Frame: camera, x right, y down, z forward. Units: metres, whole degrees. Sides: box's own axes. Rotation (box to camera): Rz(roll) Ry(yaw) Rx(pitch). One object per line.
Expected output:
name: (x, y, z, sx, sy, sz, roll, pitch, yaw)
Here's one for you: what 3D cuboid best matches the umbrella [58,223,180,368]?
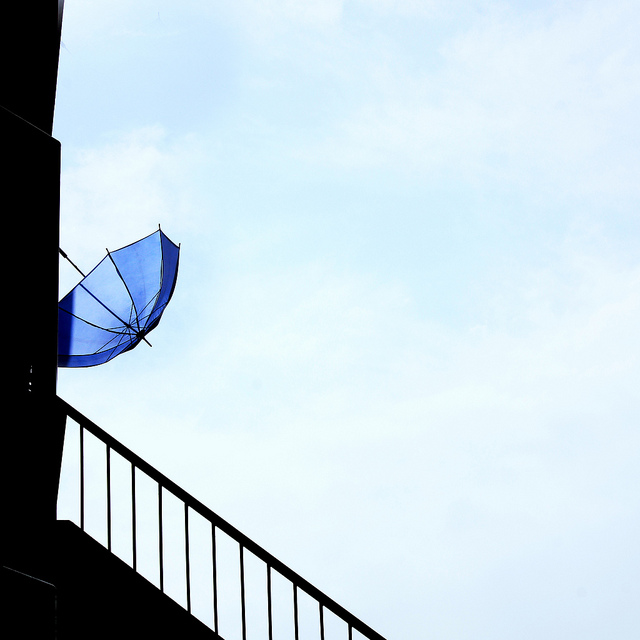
umbrella: (-1.605, -0.069, 11.389, 1.281, 0.581, 1.516, -25, -13, -3)
